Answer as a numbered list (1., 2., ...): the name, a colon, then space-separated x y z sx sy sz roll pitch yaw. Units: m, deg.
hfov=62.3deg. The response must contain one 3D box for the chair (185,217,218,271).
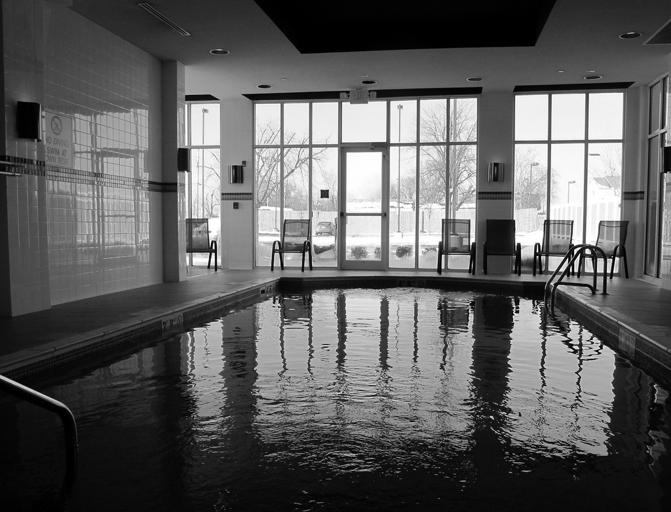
1. chair: -2.714 -0.216 11.256 0.555 1.090 1.237 -2 7 -16

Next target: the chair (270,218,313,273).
1. chair: -0.827 -0.218 10.820 0.705 1.073 0.763 1 -1 21

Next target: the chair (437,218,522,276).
1. chair: 2.694 -0.164 10.488 1.444 1.028 0.732 2 7 14
